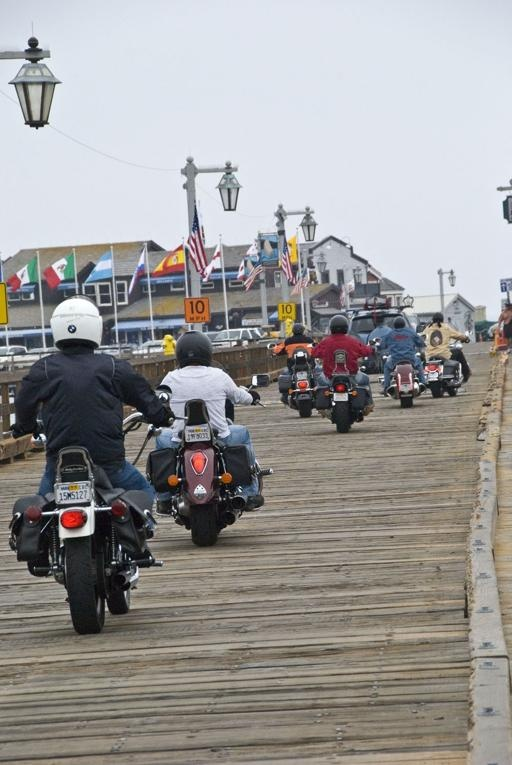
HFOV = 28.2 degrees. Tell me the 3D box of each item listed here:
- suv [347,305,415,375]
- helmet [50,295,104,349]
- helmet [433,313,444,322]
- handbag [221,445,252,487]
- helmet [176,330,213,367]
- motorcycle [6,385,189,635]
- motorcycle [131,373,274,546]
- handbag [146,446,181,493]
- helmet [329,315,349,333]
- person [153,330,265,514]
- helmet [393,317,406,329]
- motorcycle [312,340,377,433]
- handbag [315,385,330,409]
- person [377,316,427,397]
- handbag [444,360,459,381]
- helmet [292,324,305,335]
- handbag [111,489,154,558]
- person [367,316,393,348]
[{"bbox_3d":[3.685,-1.494,30.124,1.846,1.605,2.990,-1,-3,5],"label":"suv"},{"bbox_3d":[-0.880,-0.292,5.122,0.237,0.235,0.281,1,6,4],"label":"helmet"},{"bbox_3d":[3.693,-1.332,20.680,0.213,0.258,0.277,2,5,12],"label":"helmet"},{"bbox_3d":[-0.125,0.600,7.263,0.236,0.272,0.104,-4,-15,-11],"label":"handbag"},{"bbox_3d":[-0.470,-0.263,7.853,0.253,0.248,0.300,0,-3,10],"label":"helmet"},{"bbox_3d":[-0.778,0.734,4.699,0.607,0.671,1.054,-3,0,7],"label":"motorcycle"},{"bbox_3d":[-0.379,0.658,7.292,0.740,0.746,1.448,-7,0,6],"label":"motorcycle"},{"bbox_3d":[-0.652,0.632,7.258,0.192,0.213,0.306,-1,34,2],"label":"handbag"},{"bbox_3d":[1.281,-0.915,15.778,0.249,0.289,0.309,4,9,8],"label":"helmet"},{"bbox_3d":[-0.372,0.080,8.001,0.758,0.819,1.531,-2,2,6],"label":"person"},{"bbox_3d":[2.620,-1.098,18.561,0.195,0.202,0.223,2,6,8],"label":"helmet"},{"bbox_3d":[1.344,-0.004,15.570,0.900,1.497,0.796,-6,0,2],"label":"motorcycle"},{"bbox_3d":[1.019,0.225,15.626,0.332,0.422,0.303,0,-1,-4],"label":"handbag"},{"bbox_3d":[2.700,-0.666,19.173,0.878,0.860,1.593,0,6,7],"label":"person"},{"bbox_3d":[3.972,-0.272,20.644,0.383,0.329,0.352,-4,-25,23],"label":"handbag"},{"bbox_3d":[0.790,-0.998,18.963,0.187,0.197,0.211,2,15,9],"label":"helmet"},{"bbox_3d":[-0.577,0.671,4.806,0.134,0.281,0.235,-11,-17,8],"label":"handbag"},{"bbox_3d":[3.162,-1.250,25.940,0.731,0.670,2.685,-2,16,8],"label":"person"}]
